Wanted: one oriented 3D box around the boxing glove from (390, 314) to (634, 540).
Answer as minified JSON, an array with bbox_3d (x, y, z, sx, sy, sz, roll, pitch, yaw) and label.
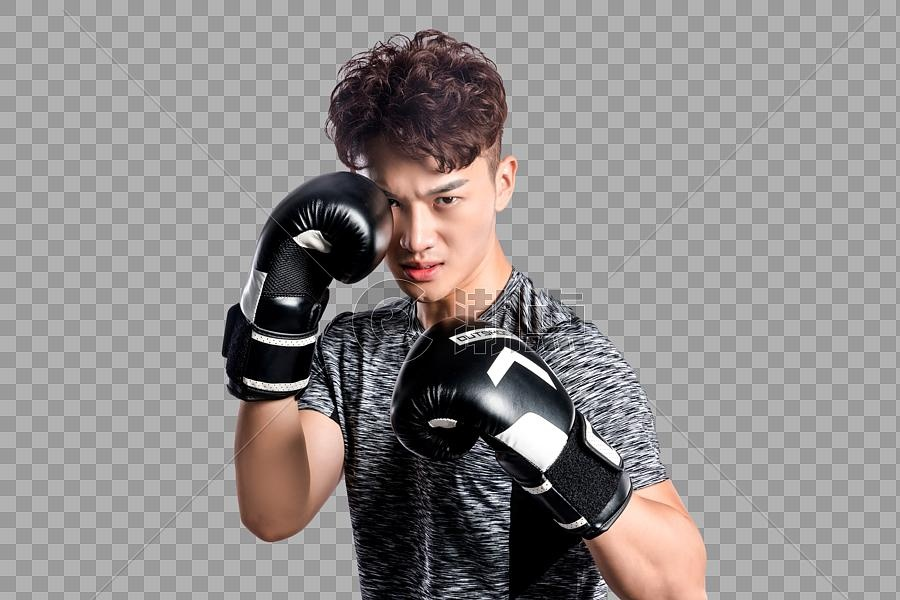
[{"bbox_3d":[0.231,0.330,2.761,0.736,0.561,0.274,39,57,-18],"label":"boxing glove"}]
